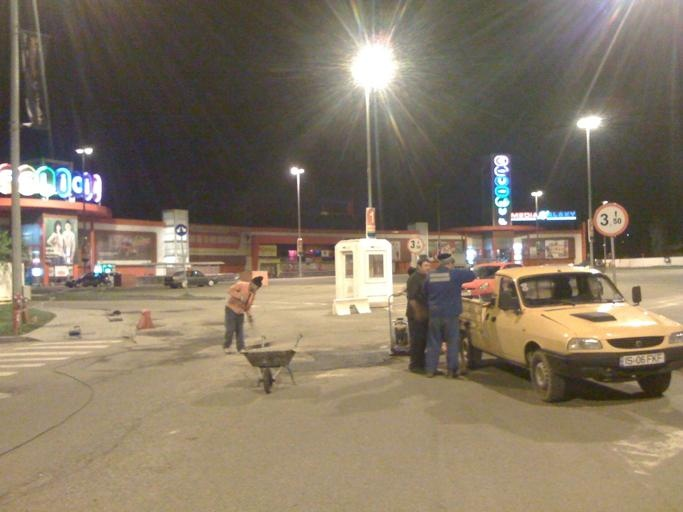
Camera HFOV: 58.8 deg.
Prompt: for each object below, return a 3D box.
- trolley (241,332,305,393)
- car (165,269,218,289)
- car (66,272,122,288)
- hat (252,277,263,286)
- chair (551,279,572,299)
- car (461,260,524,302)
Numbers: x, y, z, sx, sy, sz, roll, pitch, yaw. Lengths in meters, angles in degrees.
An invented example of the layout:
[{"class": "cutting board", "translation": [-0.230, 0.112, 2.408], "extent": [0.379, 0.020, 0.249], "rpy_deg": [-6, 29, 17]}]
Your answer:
[{"class": "trolley", "translation": [-1.125, 1.867, 10.545], "extent": [0.703, 0.704, 1.310], "rpy_deg": [-1, -20, 5]}, {"class": "car", "translation": [-11.500, 1.804, 46.866], "extent": [3.466, 1.168, 1.485], "rpy_deg": [-2, 3, -45]}, {"class": "car", "translation": [-19.494, 1.927, 48.701], "extent": [3.276, 1.196, 1.787], "rpy_deg": [3, -3, -18]}, {"class": "hat", "translation": [-1.799, 0.542, 13.023], "extent": [0.279, 0.240, 0.213], "rpy_deg": [2, 0, 43]}, {"class": "chair", "translation": [3.713, 0.574, 10.254], "extent": [0.344, 0.348, 0.297], "rpy_deg": [3, -5, -36]}, {"class": "car", "translation": [5.218, 0.890, 22.711], "extent": [1.620, 1.335, 3.732], "rpy_deg": [-3, -4, 34]}]
